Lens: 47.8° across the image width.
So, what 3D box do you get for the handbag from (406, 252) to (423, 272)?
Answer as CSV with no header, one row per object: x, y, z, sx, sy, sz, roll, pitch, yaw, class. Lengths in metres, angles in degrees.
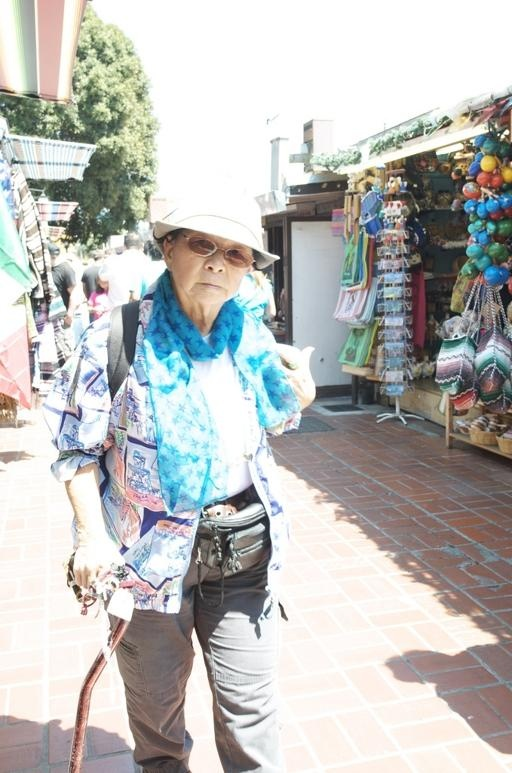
2.275,-1.822,8.343,0.230,0.212,0.276,0,-17,4,handbag

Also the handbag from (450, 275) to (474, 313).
2.412,-1.066,6.760,0.132,0.482,0.289,10,31,-6,handbag

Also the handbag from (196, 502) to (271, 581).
-0.056,0.357,1.331,0.143,0.182,0.075,10,5,-38,handbag

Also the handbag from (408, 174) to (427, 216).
2.478,-2.942,8.886,0.434,0.591,0.193,8,10,40,handbag
